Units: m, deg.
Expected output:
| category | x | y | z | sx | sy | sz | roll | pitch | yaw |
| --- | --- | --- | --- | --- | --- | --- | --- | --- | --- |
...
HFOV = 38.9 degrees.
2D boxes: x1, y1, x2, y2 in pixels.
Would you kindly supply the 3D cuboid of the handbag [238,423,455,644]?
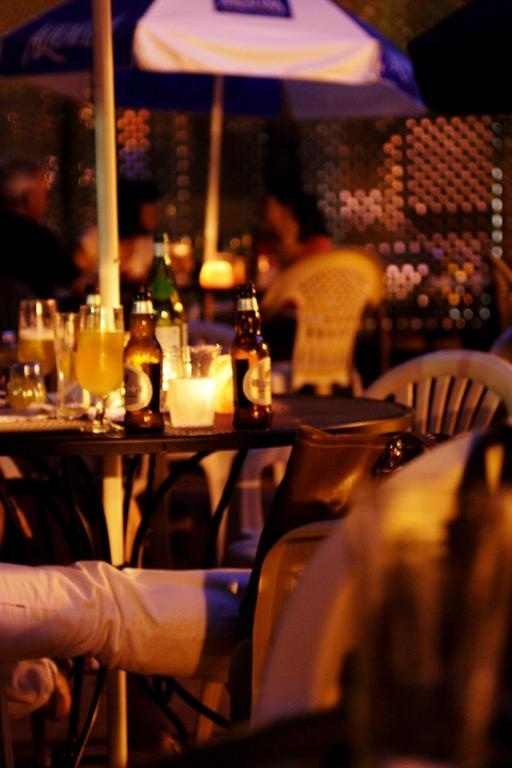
| category | x | y | z | sx | sy | sz | roll | pitch | yaw |
| --- | --- | --- | --- | --- | --- | --- | --- | --- | --- |
| handbag | 0.085 | 0.220 | 1.131 | 0.255 | 0.334 | 0.250 | -6 | -10 | -27 |
